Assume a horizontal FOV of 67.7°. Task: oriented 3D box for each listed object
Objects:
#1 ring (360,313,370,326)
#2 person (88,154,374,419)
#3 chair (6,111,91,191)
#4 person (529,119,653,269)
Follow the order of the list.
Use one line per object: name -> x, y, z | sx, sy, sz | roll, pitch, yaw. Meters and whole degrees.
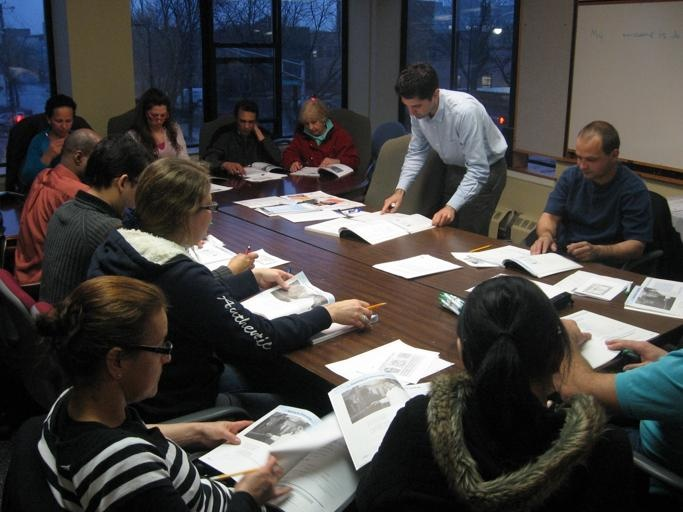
ring -> 0.094, 0.252, 2.040 | 0.024, 0.026, 0.044 | -22, -5, 12
person -> -0.447, 0.387, 2.138 | 0.918, 1.526, 0.757 | -7, 19, -28
chair -> -2.470, -0.860, 4.358 | 0.486, 0.702, 0.586 | 1, 7, -33
person -> 1.494, -0.328, 3.118 | 0.694, 0.882, 0.700 | -9, 30, 6
